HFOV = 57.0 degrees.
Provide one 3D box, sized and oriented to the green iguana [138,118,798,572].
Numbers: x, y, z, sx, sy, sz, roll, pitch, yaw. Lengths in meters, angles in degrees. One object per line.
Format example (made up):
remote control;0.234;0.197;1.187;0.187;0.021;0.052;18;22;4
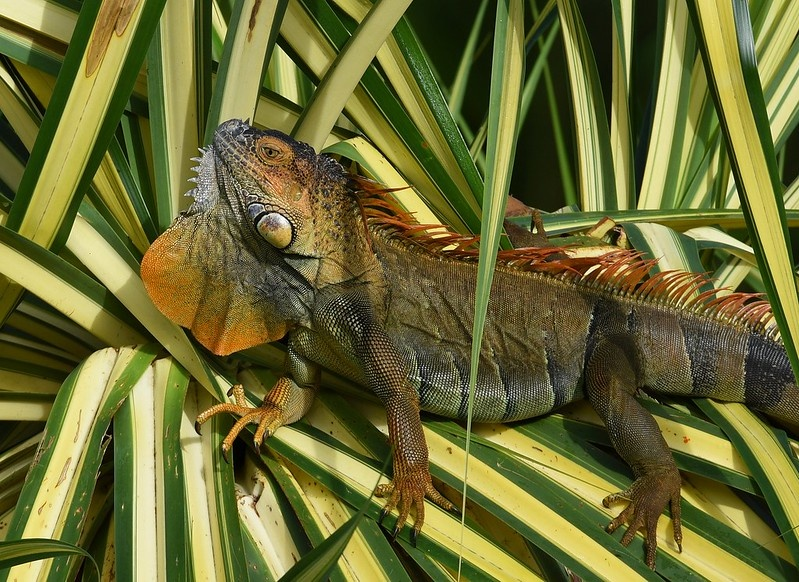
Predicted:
green iguana;0.134;0.117;1.608;1.207;0.588;0.805;0;19;-11
